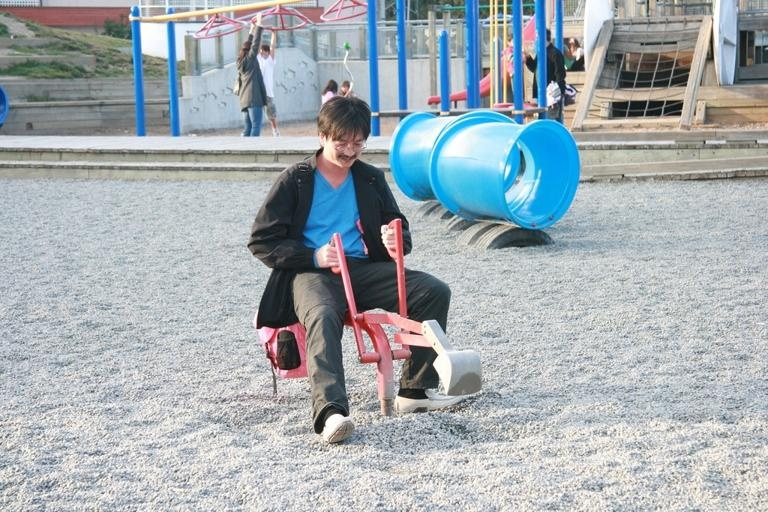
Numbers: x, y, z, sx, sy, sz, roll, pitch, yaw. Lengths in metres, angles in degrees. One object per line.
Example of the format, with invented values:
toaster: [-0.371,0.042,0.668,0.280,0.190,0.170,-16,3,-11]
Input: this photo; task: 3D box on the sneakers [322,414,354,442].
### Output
sneakers: [-0.391,1.493,11.623,0.164,0.149,0.301,1,-30,-31]

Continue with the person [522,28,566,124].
person: [2.520,-2.841,21.011,0.634,1.428,1.859,1,12,4]

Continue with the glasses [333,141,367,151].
glasses: [-0.297,-0.976,11.906,0.267,0.100,0.101,-7,14,-29]

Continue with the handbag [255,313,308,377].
handbag: [-0.876,0.780,12.216,0.333,0.669,0.461,-5,-4,0]
